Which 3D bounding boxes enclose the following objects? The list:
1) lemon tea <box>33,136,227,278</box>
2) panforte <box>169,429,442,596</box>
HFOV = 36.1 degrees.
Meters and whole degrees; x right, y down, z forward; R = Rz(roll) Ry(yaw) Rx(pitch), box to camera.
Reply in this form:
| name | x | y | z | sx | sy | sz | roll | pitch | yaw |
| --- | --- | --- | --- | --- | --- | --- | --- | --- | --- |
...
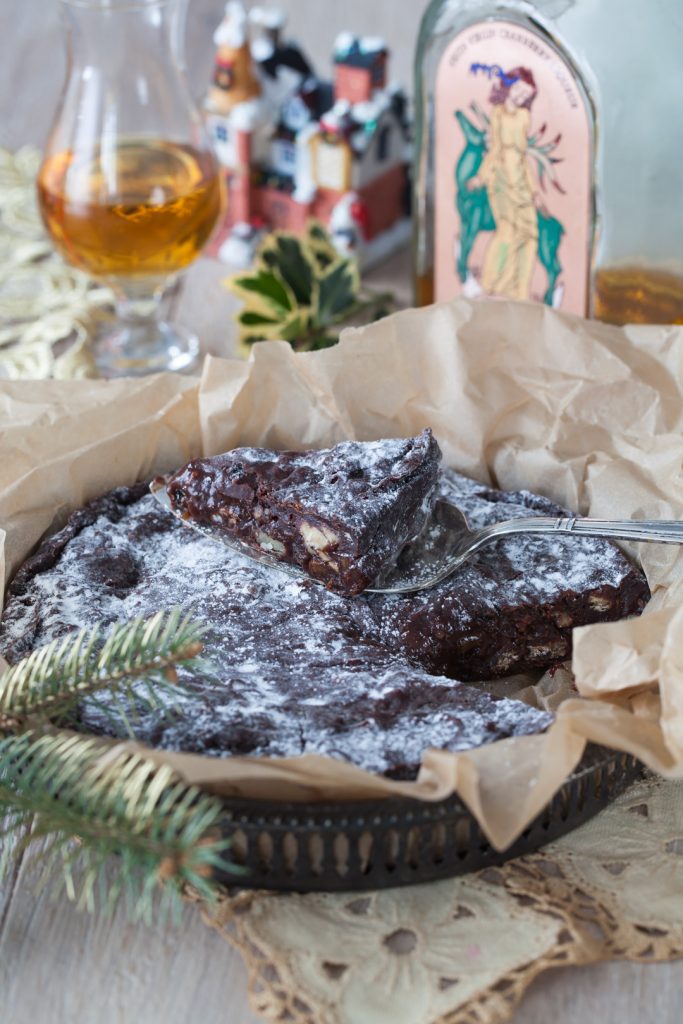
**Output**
| name | x | y | z | sx | sy | sz | roll | pitch | yaw |
| --- | --- | --- | --- | --- | --- | --- | --- | --- | --- |
| lemon tea | -0.249 | -0.363 | 1.286 | 0.224 | 0.163 | 0.140 | -8 | 47 | -12 |
| panforte | -0.039 | -0.013 | 0.980 | 0.216 | 0.064 | 0.157 | 17 | 40 | 12 |
